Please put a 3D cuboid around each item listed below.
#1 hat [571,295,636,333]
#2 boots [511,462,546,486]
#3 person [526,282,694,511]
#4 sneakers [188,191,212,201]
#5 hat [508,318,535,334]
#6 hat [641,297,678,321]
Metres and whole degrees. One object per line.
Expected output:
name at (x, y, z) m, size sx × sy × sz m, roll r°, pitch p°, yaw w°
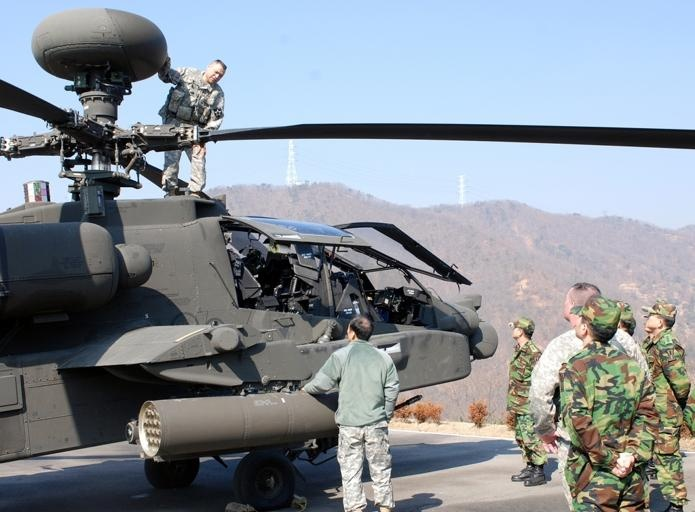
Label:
hat at (2.253, 0.550, 7.910) m, size 0.496 × 0.151 × 0.361 m, roll 16°, pitch 13°, yaw 26°
boots at (2.379, 2.845, 11.540) m, size 0.532 × 0.343 × 0.192 m, roll 2°, pitch -1°, yaw 31°
person at (2.227, 1.247, 8.504) m, size 0.999 × 1.971 × 0.496 m, roll 0°, pitch 3°, yaw -21°
sneakers at (-1.897, -0.784, 11.416) m, size 0.223 × 0.073 × 0.152 m, roll 3°, pitch -1°, yaw 4°
hat at (2.322, 0.931, 11.936) m, size 0.316 × 0.150 × 0.219 m, roll 8°, pitch 3°, yaw 25°
hat at (3.746, 0.648, 10.819) m, size 0.469 × 0.237 × 0.298 m, roll 4°, pitch -1°, yaw 26°
